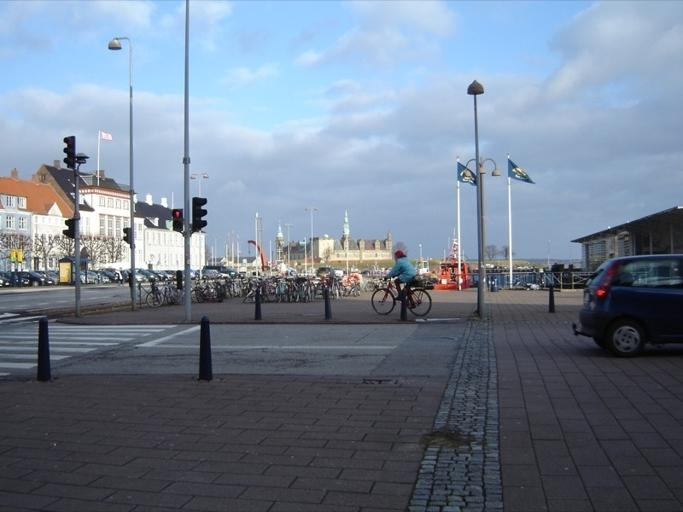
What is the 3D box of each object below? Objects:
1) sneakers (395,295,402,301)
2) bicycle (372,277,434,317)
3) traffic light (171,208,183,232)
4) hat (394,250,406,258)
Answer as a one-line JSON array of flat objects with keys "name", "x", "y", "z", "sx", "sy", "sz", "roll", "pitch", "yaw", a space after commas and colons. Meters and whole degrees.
[{"name": "sneakers", "x": 1.620, "y": 1.220, "z": 21.105, "sx": 0.143, "sy": 0.233, "sz": 0.173, "roll": 4, "pitch": -14, "yaw": 5}, {"name": "bicycle", "x": 1.709, "y": 1.236, "z": 21.698, "sx": 1.862, "sy": 1.030, "sz": 0.907, "roll": 2, "pitch": 17, "yaw": 43}, {"name": "traffic light", "x": -4.597, "y": -0.977, "z": 21.259, "sx": 0.313, "sy": 0.634, "sz": 0.777, "roll": -3, "pitch": 5, "yaw": -12}, {"name": "hat", "x": 1.643, "y": -0.041, "z": 20.974, "sx": 0.276, "sy": 0.209, "sz": 0.201, "roll": 10, "pitch": 6, "yaw": 31}]
